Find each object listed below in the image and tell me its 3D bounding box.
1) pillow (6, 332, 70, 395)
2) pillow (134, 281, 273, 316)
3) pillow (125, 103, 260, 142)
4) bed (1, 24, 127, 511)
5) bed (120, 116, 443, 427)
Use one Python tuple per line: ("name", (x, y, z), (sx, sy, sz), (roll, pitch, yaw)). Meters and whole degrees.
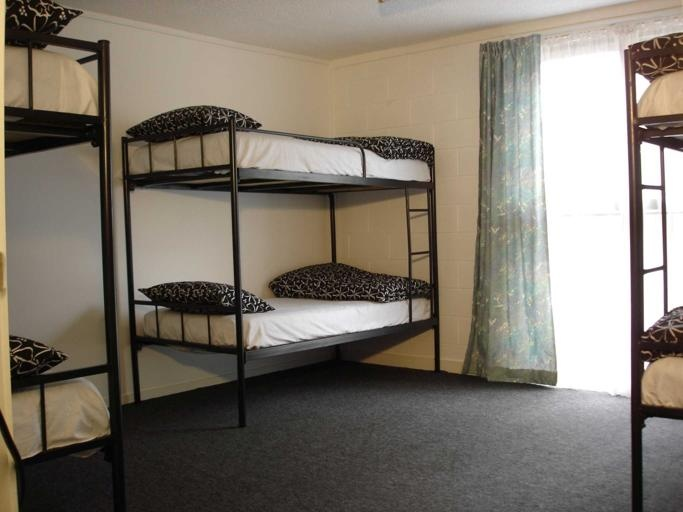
("pillow", (-1.385, 0.457, 2.630), (0.227, 0.125, 0.246), (18, 13, 23))
("pillow", (-1.016, 0.307, 4.448), (0.936, 0.232, 0.427), (2, 6, 32))
("pillow", (-1.219, -1.013, 4.414), (0.735, 0.224, 0.729), (-5, 5, 27))
("bed", (-1.302, 0.114, 2.707), (0.507, 2.290, 0.972), (-3, 5, -20))
("bed", (-0.421, -0.026, 5.234), (1.492, 2.206, 2.627), (0, 1, 41))
